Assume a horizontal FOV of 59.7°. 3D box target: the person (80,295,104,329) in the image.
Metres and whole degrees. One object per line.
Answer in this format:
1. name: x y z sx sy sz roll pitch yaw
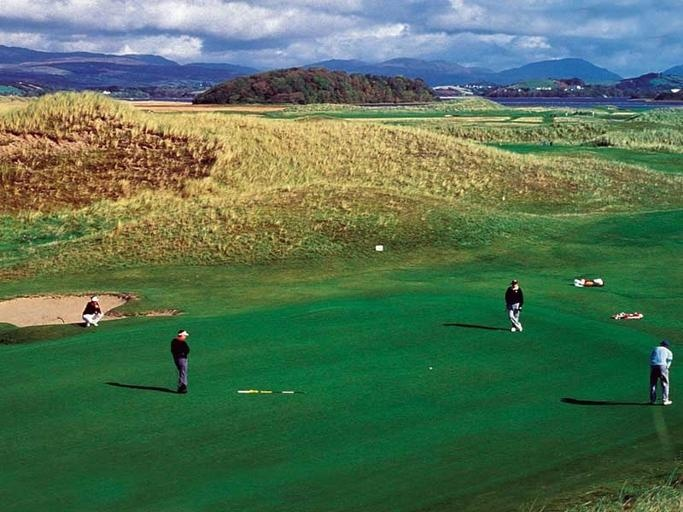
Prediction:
1. person: -10.208 2.231 24.291 0.724 1.256 0.804 5 21 43

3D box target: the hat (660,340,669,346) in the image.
1. hat: 9.290 2.520 17.125 0.298 0.124 0.321 4 4 15
